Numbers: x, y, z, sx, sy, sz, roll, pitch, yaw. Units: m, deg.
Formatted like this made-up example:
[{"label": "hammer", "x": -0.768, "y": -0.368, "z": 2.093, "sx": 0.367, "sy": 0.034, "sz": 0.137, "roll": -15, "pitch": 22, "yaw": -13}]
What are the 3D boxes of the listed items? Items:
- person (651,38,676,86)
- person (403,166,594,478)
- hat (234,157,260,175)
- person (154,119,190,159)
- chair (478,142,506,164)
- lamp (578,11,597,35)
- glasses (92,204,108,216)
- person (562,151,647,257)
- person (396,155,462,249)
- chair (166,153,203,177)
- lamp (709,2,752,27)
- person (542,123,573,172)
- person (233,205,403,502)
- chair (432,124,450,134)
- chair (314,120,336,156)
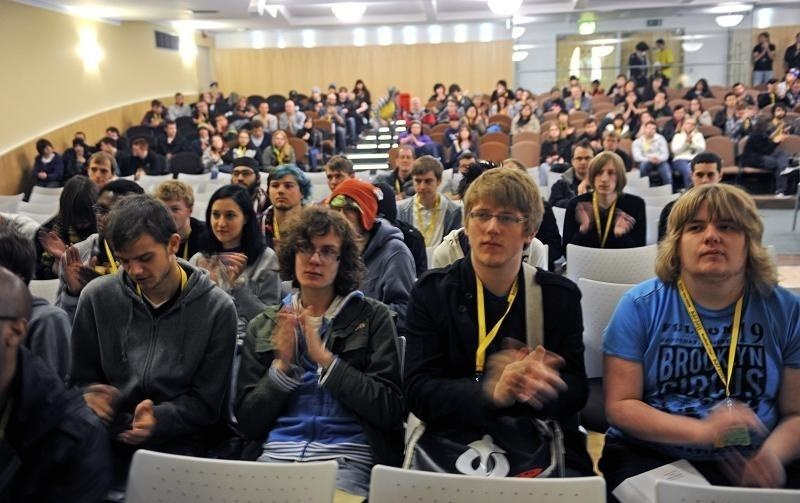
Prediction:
[{"label": "person", "x": 6.153, "y": -4.133, "z": 14.311, "sx": 0.419, "sy": 1.403, "sz": 0.505, "roll": -12, "pitch": 28, "yaw": 4}, {"label": "person", "x": 0.471, "y": 0.323, "z": 3.003, "sx": 0.914, "sy": 1.379, "sz": 0.658, "roll": -2, "pitch": 13, "yaw": 0}, {"label": "hat", "x": -1.580, "y": -0.895, "z": 6.312, "sx": 0.252, "sy": 0.155, "sz": 0.252, "roll": 16, "pitch": 21, "yaw": 33}, {"label": "person", "x": -4.826, "y": -2.278, "z": 12.958, "sx": 0.633, "sy": 0.857, "sz": 0.641, "roll": 0, "pitch": 2, "yaw": 4}, {"label": "chair", "x": 1.766, "y": -1.823, "z": 11.336, "sx": 0.633, "sy": 0.292, "sz": 0.550, "roll": -14, "pitch": 17, "yaw": -42}, {"label": "lamp", "x": 4.397, "y": -5.195, "z": 14.398, "sx": 0.442, "sy": 0.486, "sz": 0.482, "roll": 1, "pitch": -2, "yaw": 20}, {"label": "glasses", "x": -2.090, "y": -0.288, "z": 4.273, "sx": 0.127, "sy": 0.042, "sz": 0.128, "roll": 10, "pitch": 16, "yaw": 2}, {"label": "person", "x": 1.828, "y": -0.412, "z": 5.348, "sx": 0.688, "sy": 0.850, "sz": 0.610, "roll": 2, "pitch": 8, "yaw": 18}, {"label": "person", "x": 0.259, "y": -0.334, "z": 5.759, "sx": 0.697, "sy": 0.979, "sz": 0.582, "roll": -1, "pitch": 7, "yaw": 11}, {"label": "chair", "x": -4.021, "y": -1.631, "z": 11.578, "sx": 0.548, "sy": 0.698, "sz": 0.582, "roll": -1, "pitch": 5, "yaw": -9}, {"label": "lamp", "x": 7.606, "y": -5.358, "z": 14.051, "sx": 0.741, "sy": 0.308, "sz": 0.732, "roll": -2, "pitch": 5, "yaw": -7}, {"label": "person", "x": 2.859, "y": -1.872, "z": 11.171, "sx": 0.571, "sy": 0.863, "sz": 0.571, "roll": -5, "pitch": -8, "yaw": 14}, {"label": "person", "x": -0.420, "y": 0.479, "z": 3.216, "sx": 0.896, "sy": 1.325, "sz": 0.684, "roll": -1, "pitch": 13, "yaw": 8}, {"label": "chair", "x": 0.859, "y": -2.538, "z": 12.934, "sx": 0.319, "sy": 0.233, "sz": 0.317, "roll": 7, "pitch": 15, "yaw": 32}, {"label": "chair", "x": -1.630, "y": -2.444, "z": 13.415, "sx": 0.476, "sy": 0.769, "sz": 1.197, "roll": -4, "pitch": 13, "yaw": -6}]
